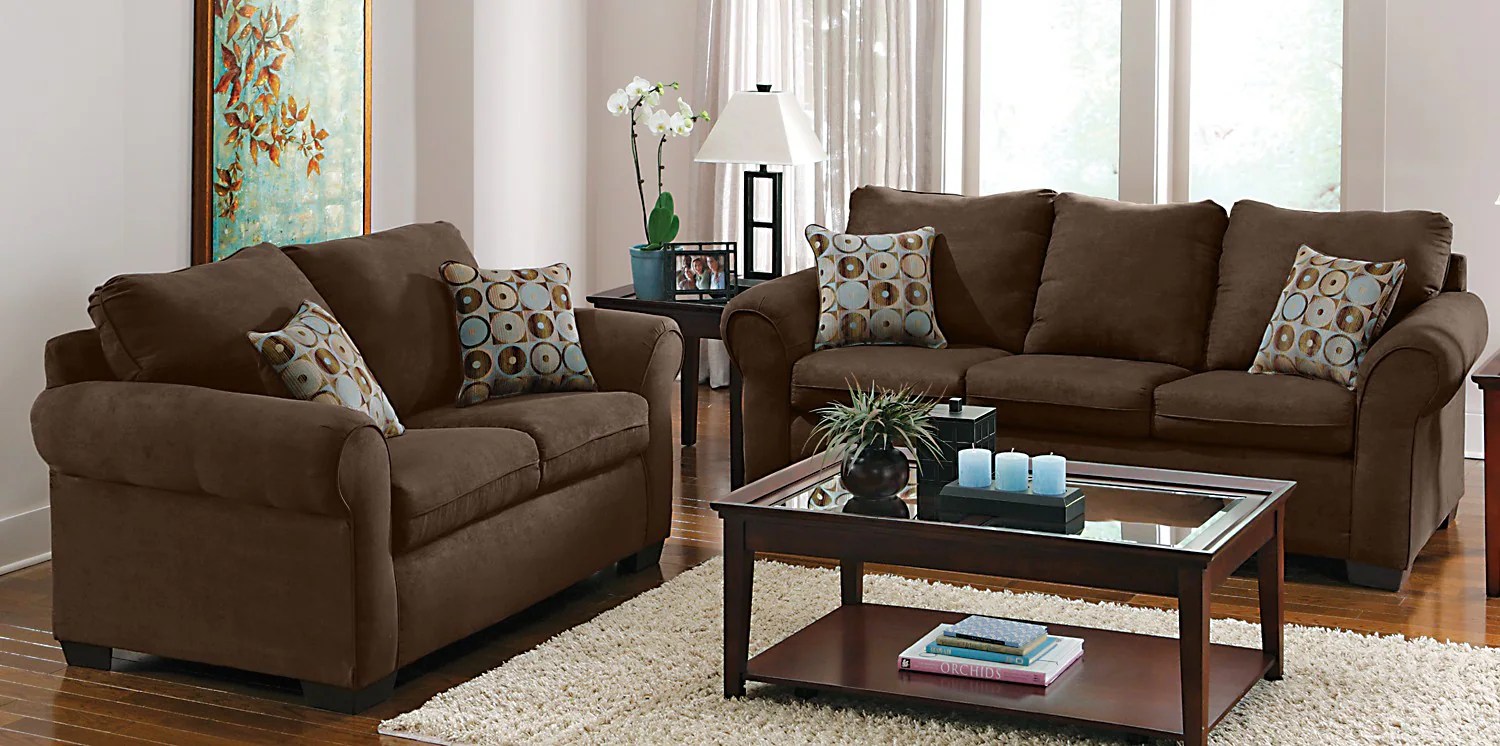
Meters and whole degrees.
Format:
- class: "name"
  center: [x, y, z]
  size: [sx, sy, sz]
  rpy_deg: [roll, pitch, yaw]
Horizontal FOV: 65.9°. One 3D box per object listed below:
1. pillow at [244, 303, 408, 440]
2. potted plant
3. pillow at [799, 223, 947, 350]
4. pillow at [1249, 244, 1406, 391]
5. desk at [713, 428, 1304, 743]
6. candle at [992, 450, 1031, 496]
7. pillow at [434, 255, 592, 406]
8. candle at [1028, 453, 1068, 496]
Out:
- class: "pillow"
  center: [-1.893, -0.073, 5.080]
  size: [0.204, 0.598, 0.694]
  rpy_deg: [-37, -25, 24]
- class: "potted plant"
  center: [0.590, 0.277, 4.978]
  size: [0.565, 0.389, 0.525]
  rpy_deg: [1, -1, -29]
- class: "pillow"
  center: [0.699, -0.450, 6.488]
  size: [0.833, 0.673, 0.259]
  rpy_deg: [1, -11, -4]
- class: "pillow"
  center: [3.054, -0.235, 5.950]
  size: [0.242, 0.684, 0.764]
  rpy_deg: [23, 0, -36]
- class: "desk"
  center: [1.026, 0.904, 4.820]
  size: [2.135, 0.854, 1.026]
  rpy_deg: [4, 17, 17]
- class: "candle"
  center: [1.055, 0.415, 4.718]
  size: [0.168, 0.160, 0.162]
  rpy_deg: [-4, 7, -42]
- class: "pillow"
  center: [-1.212, -0.178, 5.778]
  size: [0.944, 0.700, 0.442]
  rpy_deg: [-4, 11, -23]
- class: "candle"
  center: [1.196, 0.421, 4.677]
  size: [0.173, 0.160, 0.158]
  rpy_deg: [1, -1, -19]
